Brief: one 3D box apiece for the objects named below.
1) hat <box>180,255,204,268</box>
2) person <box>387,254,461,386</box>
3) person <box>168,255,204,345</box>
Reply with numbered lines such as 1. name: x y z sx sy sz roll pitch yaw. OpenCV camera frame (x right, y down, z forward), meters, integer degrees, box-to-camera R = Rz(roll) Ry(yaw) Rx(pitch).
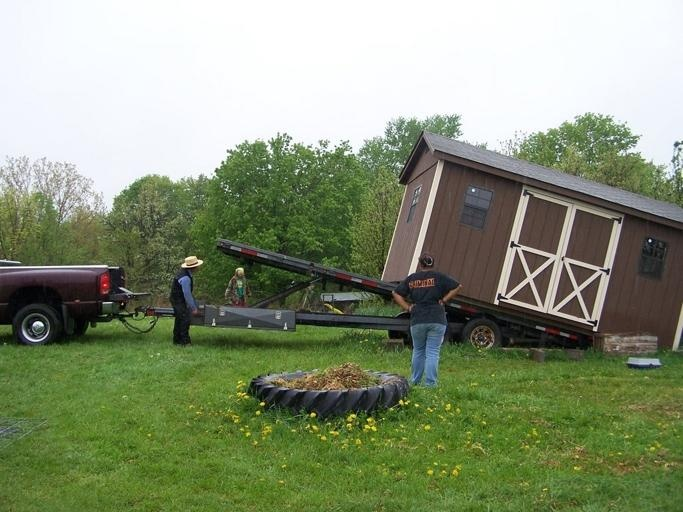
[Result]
1. hat: -5.926 0.196 22.696 0.826 0.318 0.822 -5 12 11
2. person: 1.380 1.032 9.443 1.011 2.095 0.577 3 6 34
3. person: -3.605 1.059 13.256 0.671 2.060 1.165 -1 5 -17
